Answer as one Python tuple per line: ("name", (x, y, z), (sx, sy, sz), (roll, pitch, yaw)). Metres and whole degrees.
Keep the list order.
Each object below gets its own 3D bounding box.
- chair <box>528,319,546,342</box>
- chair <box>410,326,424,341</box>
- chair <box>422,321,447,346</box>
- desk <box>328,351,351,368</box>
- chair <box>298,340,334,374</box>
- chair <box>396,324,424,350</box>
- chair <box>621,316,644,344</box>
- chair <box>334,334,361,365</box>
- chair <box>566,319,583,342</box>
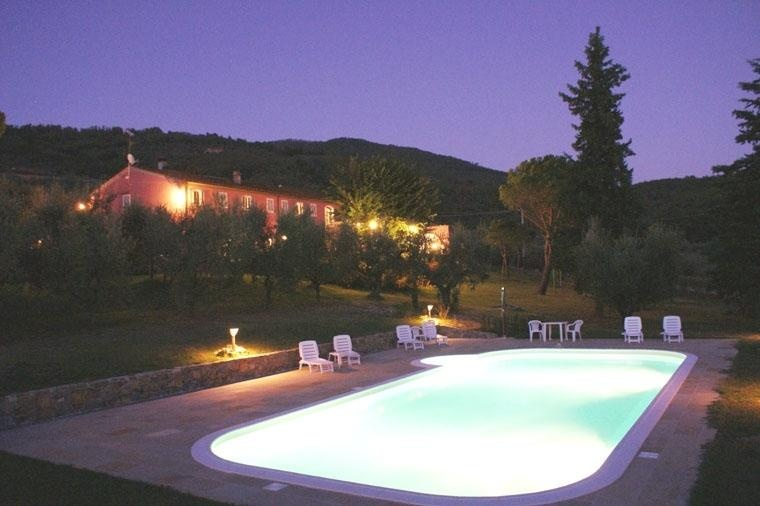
("chair", (8.319, 3.962, 34.180), (0.835, 1.008, 2.674), (-1, -1, 13))
("chair", (2.116, 3.965, 32.790), (0.454, 0.865, 0.809), (0, 2, 28))
("chair", (2.821, 3.947, 33.246), (1.182, 1.111, 1.636), (-1, -1, 4))
("desk", (-1.544, 4.354, 27.717), (0.587, 0.781, 0.785), (-2, -3, 43))
("chair", (-2.535, 4.128, 26.815), (1.580, 1.121, 1.159), (-1, -1, 39))
("chair", (1.465, 4.073, 31.957), (0.814, 0.965, 1.365), (0, -5, -10))
("chair", (12.657, 3.700, 32.429), (0.890, 1.090, 1.747), (-1, -1, 22))
("chair", (-1.329, 4.049, 27.815), (1.074, 1.682, 1.093), (0, -2, -26))
("chair", (10.467, 4.102, 34.845), (0.901, 1.271, 0.898), (2, -4, -32))
